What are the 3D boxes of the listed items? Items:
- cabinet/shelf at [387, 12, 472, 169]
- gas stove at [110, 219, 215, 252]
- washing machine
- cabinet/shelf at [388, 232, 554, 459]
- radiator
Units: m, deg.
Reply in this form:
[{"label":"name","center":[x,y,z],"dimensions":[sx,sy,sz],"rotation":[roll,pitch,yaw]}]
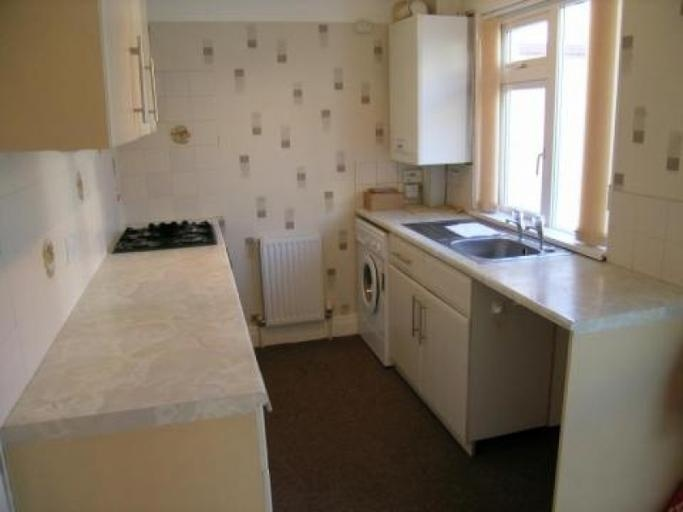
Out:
[{"label":"cabinet/shelf","center":[0.598,-1.128,3.914],"dimensions":[0.408,1.206,0.686],"rotation":[-5,13,-13]},{"label":"gas stove","center":[-1.121,-0.122,3.475],"dimensions":[0.653,0.037,0.785],"rotation":[-5,13,-14]},{"label":"washing machine","center":[0.220,0.271,4.015],"dimensions":[0.331,0.900,0.433],"rotation":[-1,13,-9]},{"label":"cabinet/shelf","center":[0.781,0.424,3.437],"dimensions":[0.659,1.068,1.097],"rotation":[-5,15,-19]},{"label":"radiator","center":[-0.378,0.182,4.198],"dimensions":[0.511,0.744,0.397],"rotation":[-2,14,-15]}]
